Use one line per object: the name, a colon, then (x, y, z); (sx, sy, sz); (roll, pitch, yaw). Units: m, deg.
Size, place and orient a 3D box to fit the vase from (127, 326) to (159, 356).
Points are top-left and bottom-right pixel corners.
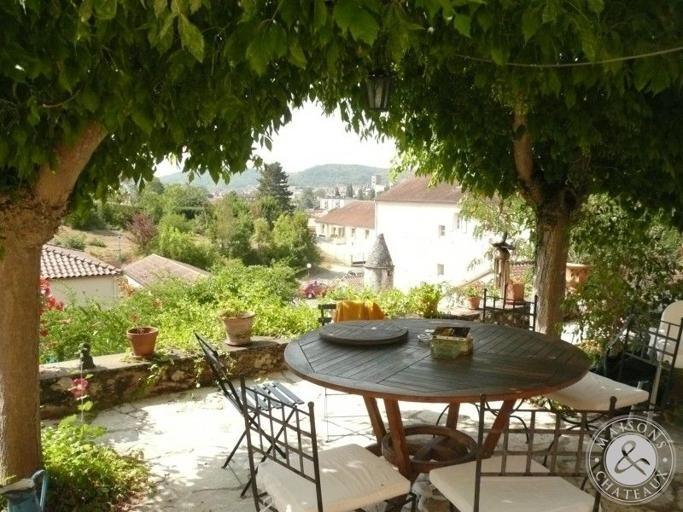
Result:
vase: (-1.955, 0.833, 5.249); (0.259, 0.233, 0.286); (1, 4, 27)
